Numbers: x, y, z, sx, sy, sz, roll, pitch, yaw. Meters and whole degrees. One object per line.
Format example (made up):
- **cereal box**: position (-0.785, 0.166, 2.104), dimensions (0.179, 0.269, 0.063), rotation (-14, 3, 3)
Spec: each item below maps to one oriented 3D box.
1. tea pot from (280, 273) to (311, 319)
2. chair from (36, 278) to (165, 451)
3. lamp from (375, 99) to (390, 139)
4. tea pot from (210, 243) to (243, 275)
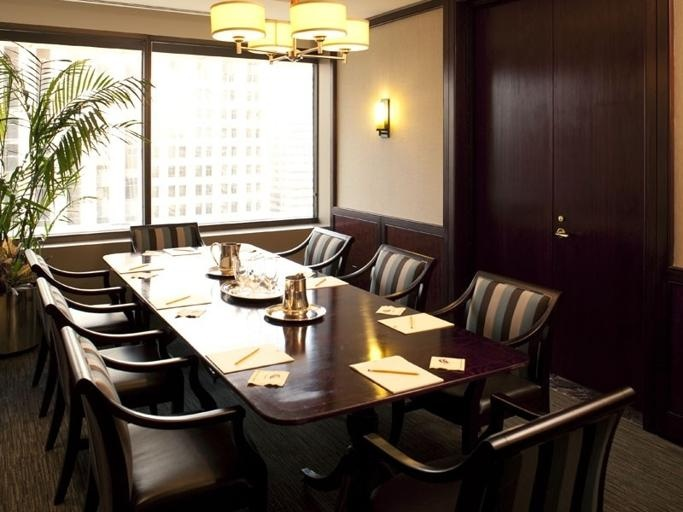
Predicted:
- **tea pot**: position (-0.248, 0.212, 2.764), dimensions (0.135, 0.219, 0.205), rotation (3, 7, 11)
- **chair**: position (-1.315, 0.478, 2.793), dimensions (0.691, 0.841, 0.724), rotation (-7, 22, -19)
- **lamp**: position (0.418, -1.446, 5.275), dimensions (0.091, 0.395, 0.241), rotation (-7, 14, -30)
- **tea pot**: position (-0.814, 0.017, 3.561), dimensions (0.199, 0.223, 0.144), rotation (1, -1, -6)
